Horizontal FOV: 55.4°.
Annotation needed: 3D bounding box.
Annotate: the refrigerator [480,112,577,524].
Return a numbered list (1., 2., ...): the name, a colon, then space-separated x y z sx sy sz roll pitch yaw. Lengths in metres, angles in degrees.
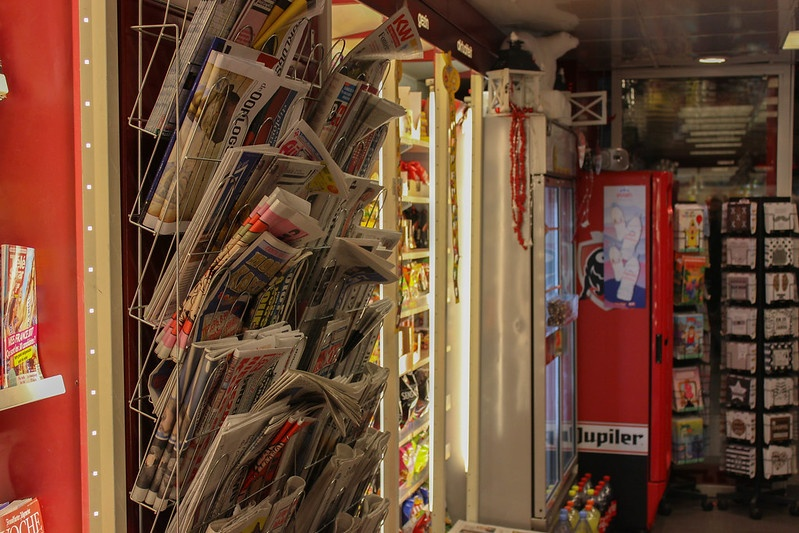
1. refrigerator: 0.826 0.370 4.877 0.462 2.522 1.008 2 -5 24

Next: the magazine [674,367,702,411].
1. magazine: 2.267 0.983 5.971 0.215 0.371 0.217 2 -5 22

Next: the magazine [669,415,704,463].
1. magazine: 2.346 1.400 6.051 0.222 0.314 0.229 -13 -23 37

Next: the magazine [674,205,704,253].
1. magazine: 2.330 -0.301 5.998 0.225 0.356 0.228 -2 3 -40

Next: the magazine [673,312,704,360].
1. magazine: 2.249 0.548 5.973 0.239 0.345 0.207 -1 3 0
